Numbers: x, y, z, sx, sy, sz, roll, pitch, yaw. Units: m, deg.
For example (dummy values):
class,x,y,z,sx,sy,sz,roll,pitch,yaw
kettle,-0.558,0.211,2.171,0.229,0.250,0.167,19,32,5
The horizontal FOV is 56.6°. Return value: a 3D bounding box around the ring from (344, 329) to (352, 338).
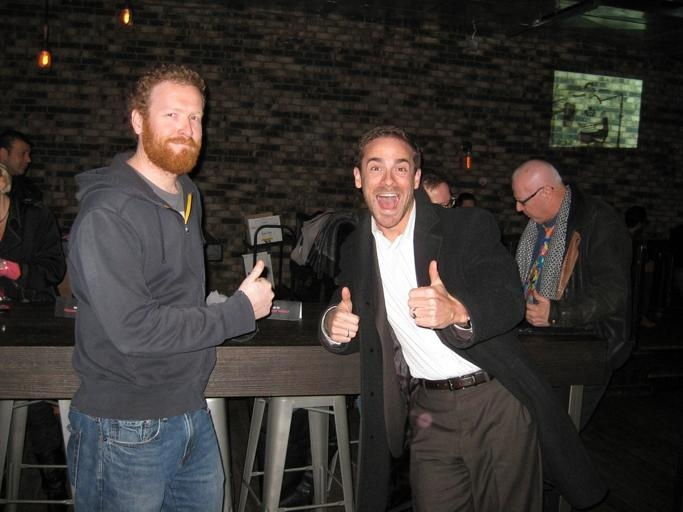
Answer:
class,x,y,z,sx,sy,sz,roll,pitch,yaw
ring,0.028,0.357,2.972,0.033,0.043,0.016,-2,4,2
